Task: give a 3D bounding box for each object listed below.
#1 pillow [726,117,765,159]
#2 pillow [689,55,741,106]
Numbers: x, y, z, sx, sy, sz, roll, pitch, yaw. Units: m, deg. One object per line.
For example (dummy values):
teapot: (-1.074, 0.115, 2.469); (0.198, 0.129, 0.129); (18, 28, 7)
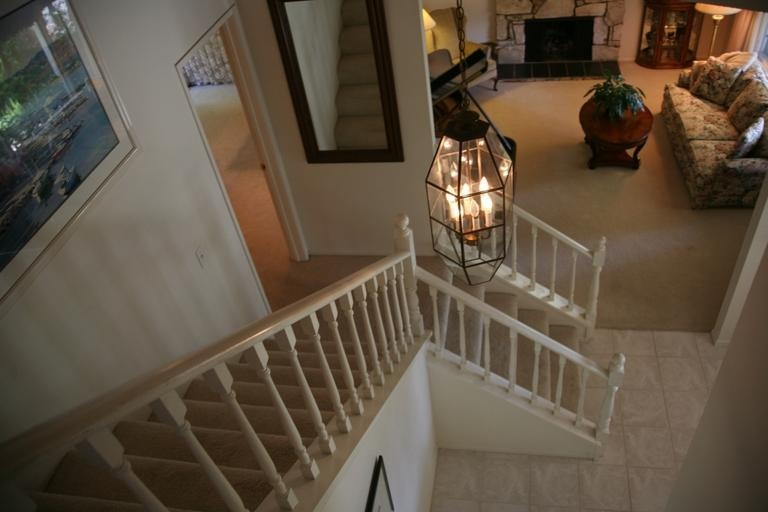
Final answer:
pillow: (4.491, -1.452, 6.395); (0.506, 0.460, 0.253); (-40, 43, -20)
pillow: (4.776, -2.532, 7.457); (0.284, 0.666, 0.651); (-4, 41, -25)
